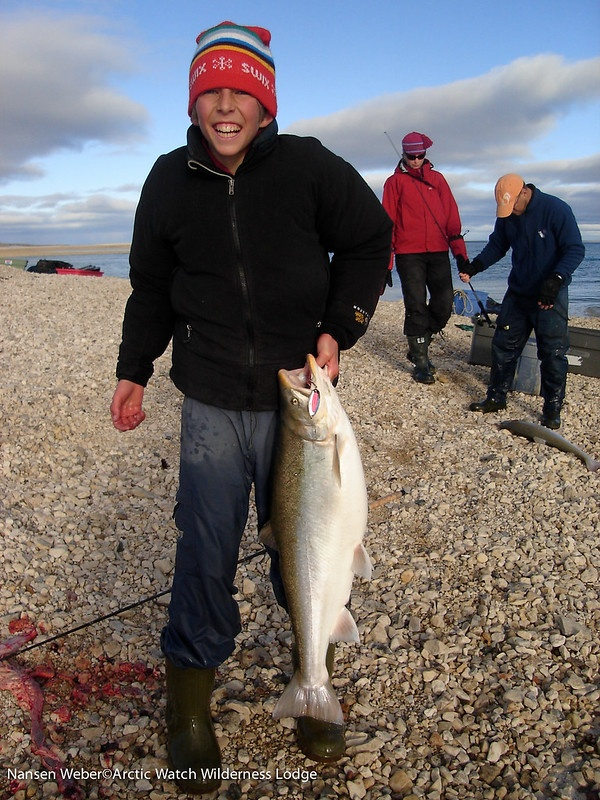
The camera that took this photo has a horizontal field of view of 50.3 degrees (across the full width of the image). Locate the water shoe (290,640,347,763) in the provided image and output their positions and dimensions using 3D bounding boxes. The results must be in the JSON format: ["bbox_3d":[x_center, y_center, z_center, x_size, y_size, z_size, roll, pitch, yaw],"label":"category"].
[{"bbox_3d":[0.069,1.188,2.413,0.142,0.520,0.169,-3,2,-6],"label":"water shoe"}]

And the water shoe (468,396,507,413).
[{"bbox_3d":[1.911,0.038,6.514,0.414,0.157,0.144,2,23,-3],"label":"water shoe"}]

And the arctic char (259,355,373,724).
[{"bbox_3d":[0.063,0.449,2.112,0.318,1.208,0.284,0,14,-3],"label":"arctic char"}]

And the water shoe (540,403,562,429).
[{"bbox_3d":[2.408,0.135,6.114,0.148,0.168,0.419,6,18,14],"label":"water shoe"}]

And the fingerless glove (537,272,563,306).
[{"bbox_3d":[2.233,-0.954,5.637,0.186,0.319,0.272,7,15,21],"label":"fingerless glove"}]

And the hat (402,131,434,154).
[{"bbox_3d":[1.188,-2.614,6.541,0.263,0.213,0.220,6,15,19],"label":"hat"}]

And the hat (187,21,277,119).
[{"bbox_3d":[-0.216,-1.069,2.062,0.271,0.299,0.244,-1,14,-7],"label":"hat"}]

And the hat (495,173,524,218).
[{"bbox_3d":[1.893,-1.820,5.740,0.228,0.361,0.293,5,14,14],"label":"hat"}]

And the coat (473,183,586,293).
[{"bbox_3d":[2.100,-1.411,5.865,0.681,0.973,1.146,-24,27,-30],"label":"coat"}]
